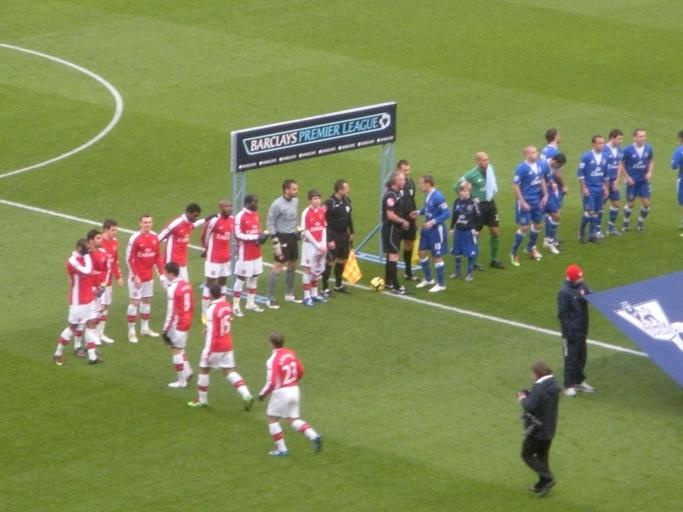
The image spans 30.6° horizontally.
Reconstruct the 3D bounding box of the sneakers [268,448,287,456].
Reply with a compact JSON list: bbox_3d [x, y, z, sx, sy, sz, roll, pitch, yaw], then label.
[{"bbox_3d":[-1.094,3.438,21.744,0.346,0.131,0.119,4,10,12],"label":"sneakers"}]

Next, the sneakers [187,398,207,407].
[{"bbox_3d":[-2.673,2.717,23.081,0.354,0.133,0.135,3,4,11],"label":"sneakers"}]

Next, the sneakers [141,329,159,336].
[{"bbox_3d":[-3.897,1.572,25.319,0.415,0.161,0.150,4,25,-3],"label":"sneakers"}]

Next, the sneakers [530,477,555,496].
[{"bbox_3d":[3.394,3.920,21.033,0.400,0.190,0.205,-28,31,22],"label":"sneakers"}]

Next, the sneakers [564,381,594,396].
[{"bbox_3d":[4.495,2.524,23.507,0.632,0.270,0.219,-6,9,-2],"label":"sneakers"}]

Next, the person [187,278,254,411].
[{"bbox_3d":[-2.200,1.670,22.765,1.188,2.305,0.665,3,3,0],"label":"person"}]

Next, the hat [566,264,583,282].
[{"bbox_3d":[4.326,0.346,23.133,0.243,0.288,0.230,3,3,21],"label":"hat"}]

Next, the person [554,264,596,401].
[{"bbox_3d":[4.393,1.423,23.324,0.644,2.449,0.651,4,3,21],"label":"person"}]

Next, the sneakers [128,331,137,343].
[{"bbox_3d":[-4.208,1.641,25.143,0.188,0.199,0.279,2,2,-11],"label":"sneakers"}]

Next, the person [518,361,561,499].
[{"bbox_3d":[3.314,2.916,21.039,0.670,2.256,0.300,3,3,8],"label":"person"}]

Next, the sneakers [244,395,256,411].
[{"bbox_3d":[-1.692,2.694,22.812,0.215,0.260,0.101,0,37,-21],"label":"sneakers"}]
